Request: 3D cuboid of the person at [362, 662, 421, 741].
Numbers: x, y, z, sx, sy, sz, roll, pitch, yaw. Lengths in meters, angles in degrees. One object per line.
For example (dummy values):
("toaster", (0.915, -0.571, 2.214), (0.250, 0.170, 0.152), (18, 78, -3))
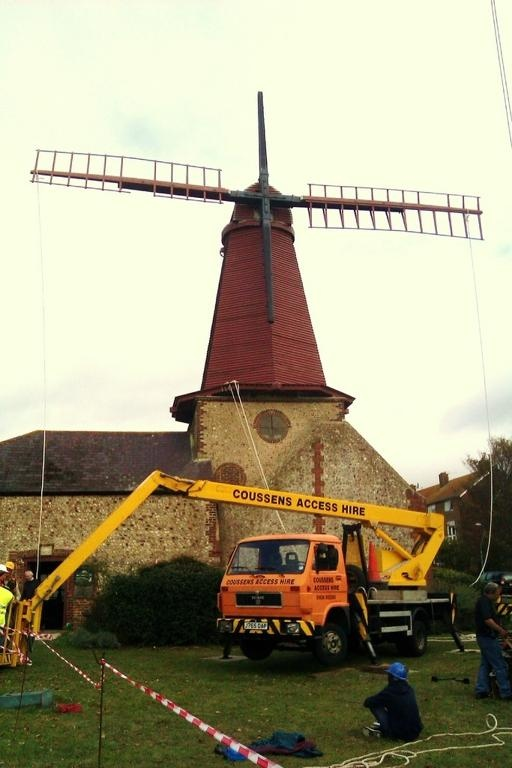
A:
("person", (1.485, 3.423, 7.846), (0.580, 0.765, 0.360), (-4, -14, 13))
